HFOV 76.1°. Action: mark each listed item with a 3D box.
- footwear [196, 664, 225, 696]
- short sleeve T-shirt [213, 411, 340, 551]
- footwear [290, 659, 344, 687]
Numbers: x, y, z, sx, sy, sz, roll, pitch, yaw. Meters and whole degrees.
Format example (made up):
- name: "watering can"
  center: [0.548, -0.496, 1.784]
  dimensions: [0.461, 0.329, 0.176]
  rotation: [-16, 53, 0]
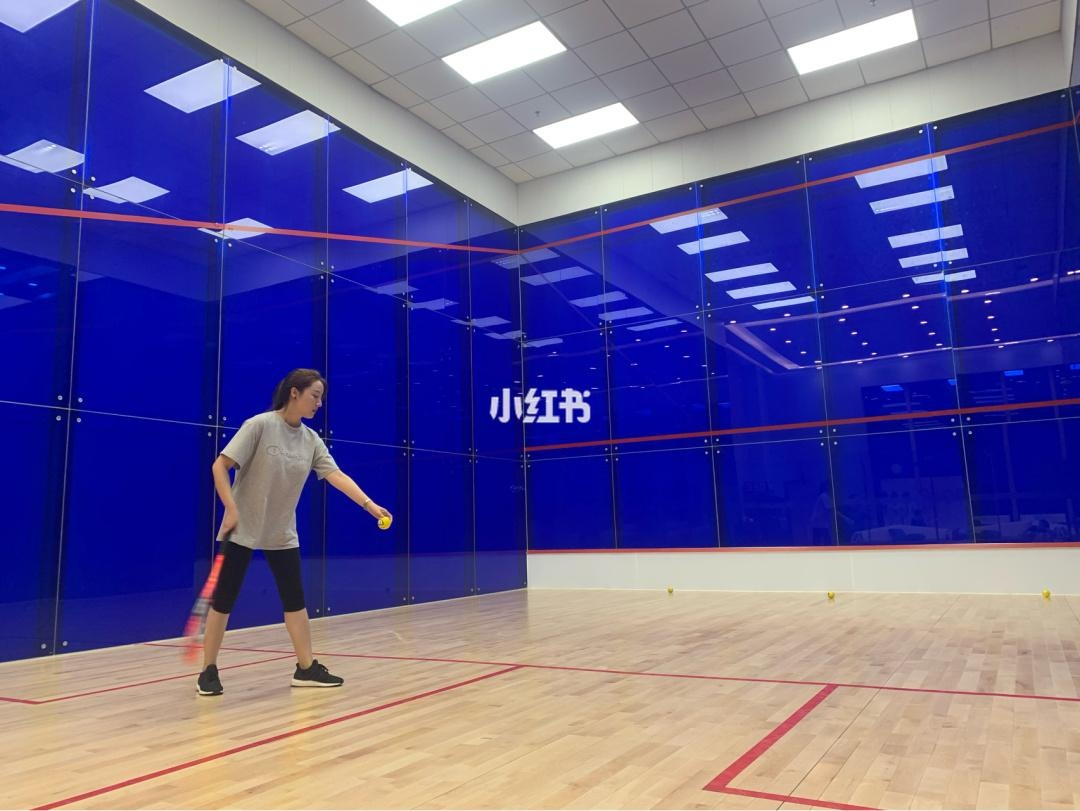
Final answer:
- name: "footwear"
  center: [-1.814, 1.510, 3.808]
  dimensions: [0.130, 0.162, 0.137]
  rotation: [3, -11, -24]
- name: "short sleeve T-shirt"
  center: [-1.512, 0.424, 3.922]
  dimensions: [0.258, 0.778, 0.650]
  rotation: [-8, -12, 31]
- name: "footwear"
  center: [-1.272, 1.552, 4.006]
  dimensions: [0.352, 0.146, 0.125]
  rotation: [4, -14, -3]
